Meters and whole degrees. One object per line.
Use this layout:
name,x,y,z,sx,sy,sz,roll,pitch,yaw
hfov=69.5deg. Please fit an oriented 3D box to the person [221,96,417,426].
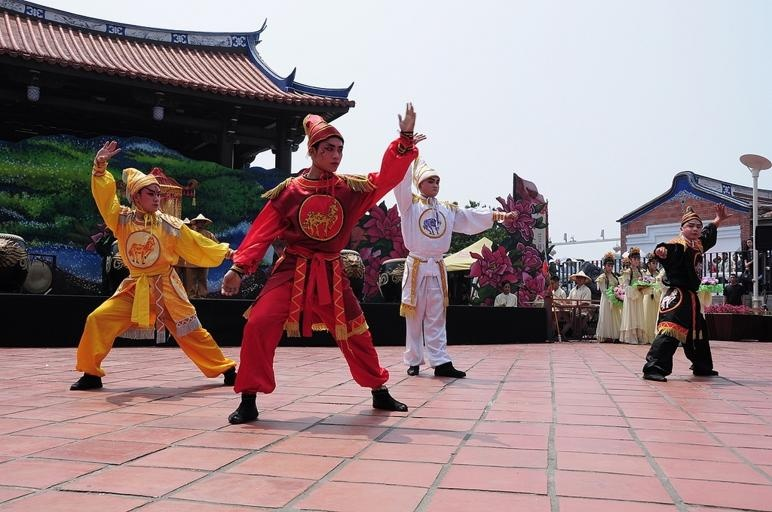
person,-0.516,0.025,4.133,1.355,2.276,0.547,1,-2,-9

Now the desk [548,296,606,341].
desk,4.318,1.434,12.734,1.003,0.646,1.453,0,-9,-4

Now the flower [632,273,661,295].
flower,5.604,0.573,11.781,0.507,0.273,0.491,-1,-1,44

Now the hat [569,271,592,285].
hat,4.965,0.484,14.063,0.486,0.184,0.467,3,-10,15

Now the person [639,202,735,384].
person,3.238,0.376,6.126,1.235,1.921,0.572,2,-2,-41

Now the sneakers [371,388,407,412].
sneakers,0.000,1.107,4.300,0.359,0.184,0.116,-3,-4,20

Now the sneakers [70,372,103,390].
sneakers,-2.737,1.126,4.942,0.320,0.121,0.112,4,-8,-18

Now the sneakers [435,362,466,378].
sneakers,0.665,1.222,5.893,0.395,0.153,0.127,-3,-6,10

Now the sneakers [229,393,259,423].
sneakers,-1.051,1.065,3.836,0.119,0.186,0.271,-12,-19,36

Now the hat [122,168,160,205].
hat,-2.353,-0.673,5.297,0.384,0.287,0.281,13,15,-11

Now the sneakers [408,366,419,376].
sneakers,0.299,1.266,6.067,0.122,0.110,0.071,15,-41,-5

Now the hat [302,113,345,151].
hat,-0.518,-0.976,4.237,0.304,0.242,0.241,-6,6,23

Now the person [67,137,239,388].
person,-2.201,0.081,5.209,1.304,2.228,0.417,1,-2,-15

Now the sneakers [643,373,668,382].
sneakers,2.787,1.257,5.738,0.244,0.090,0.084,-9,-13,40

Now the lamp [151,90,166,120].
lamp,-5.247,-3.385,12.657,0.270,0.487,1.167,2,-1,-24
